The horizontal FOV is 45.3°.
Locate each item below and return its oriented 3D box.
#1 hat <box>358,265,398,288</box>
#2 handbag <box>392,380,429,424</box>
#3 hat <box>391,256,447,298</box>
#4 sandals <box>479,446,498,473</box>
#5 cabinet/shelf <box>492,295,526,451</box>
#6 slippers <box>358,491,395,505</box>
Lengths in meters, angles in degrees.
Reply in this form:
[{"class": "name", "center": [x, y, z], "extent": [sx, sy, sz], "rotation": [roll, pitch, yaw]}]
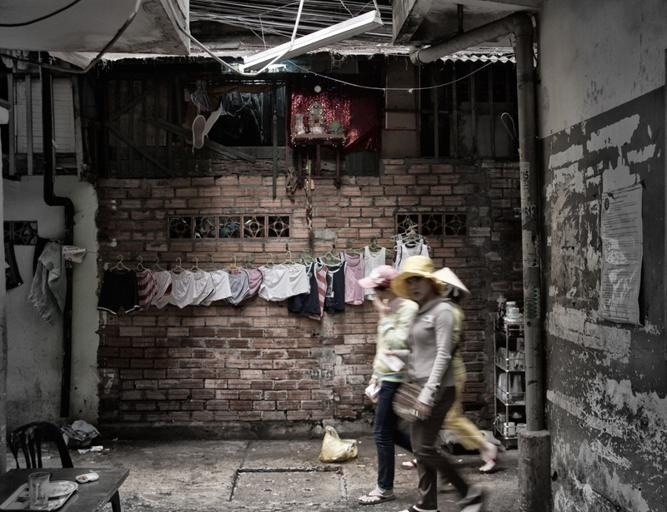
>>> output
[{"class": "hat", "center": [0.429, 0.206, 7.966], "extent": [0.312, 0.128, 0.217], "rotation": [-17, -3, 18]}, {"class": "handbag", "center": [0.705, 1.319, 7.360], "extent": [0.325, 0.364, 0.259], "rotation": [3, -19, 6]}, {"class": "hat", "center": [0.800, 0.152, 7.564], "extent": [0.408, 0.405, 0.340], "rotation": [9, 9, 44]}, {"class": "sandals", "center": [1.718, 2.180, 8.729], "extent": [0.164, 0.274, 0.590], "rotation": [-5, -26, 10]}, {"class": "cabinet/shelf", "center": [2.091, 1.444, 9.723], "extent": [0.322, 1.524, 0.599], "rotation": [1, 5, 11]}, {"class": "slippers", "center": [0.420, 2.428, 8.160], "extent": [0.322, 0.158, 0.137], "rotation": [2, -6, -4]}]
